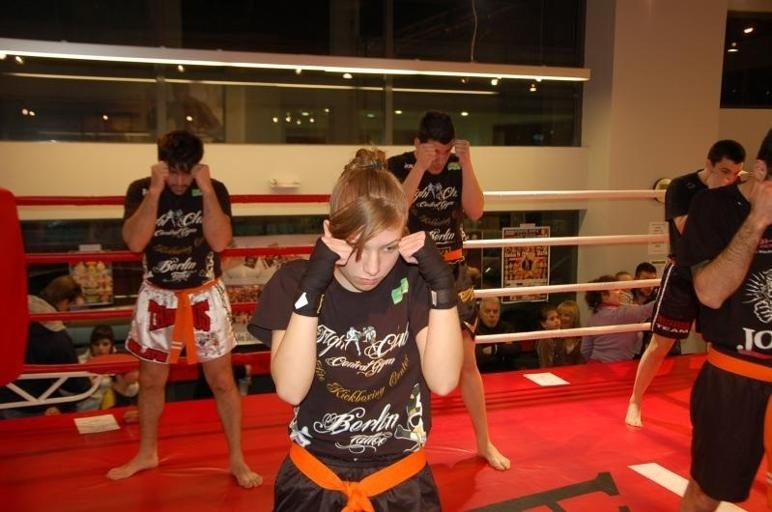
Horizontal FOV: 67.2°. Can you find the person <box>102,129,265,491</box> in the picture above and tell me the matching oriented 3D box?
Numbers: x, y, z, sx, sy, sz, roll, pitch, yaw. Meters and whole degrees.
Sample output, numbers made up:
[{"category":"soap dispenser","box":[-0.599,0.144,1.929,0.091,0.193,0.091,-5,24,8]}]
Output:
[{"category":"person","box":[-1.285,0.284,3.557,0.846,2.048,0.741,-3,14,-9]}]
